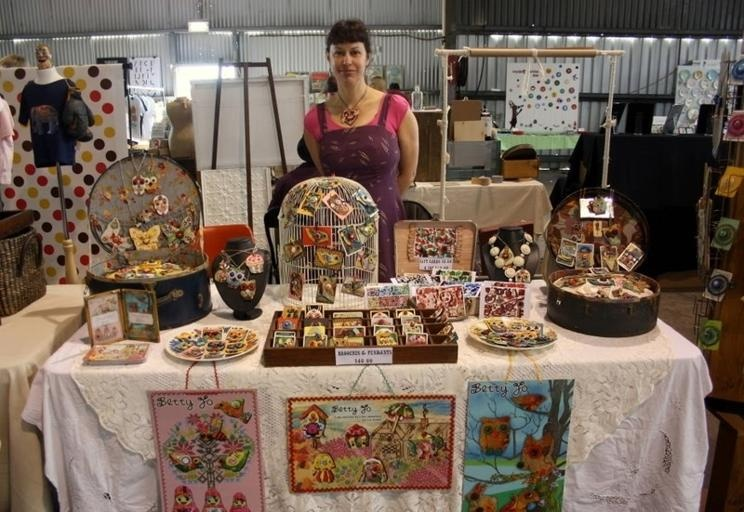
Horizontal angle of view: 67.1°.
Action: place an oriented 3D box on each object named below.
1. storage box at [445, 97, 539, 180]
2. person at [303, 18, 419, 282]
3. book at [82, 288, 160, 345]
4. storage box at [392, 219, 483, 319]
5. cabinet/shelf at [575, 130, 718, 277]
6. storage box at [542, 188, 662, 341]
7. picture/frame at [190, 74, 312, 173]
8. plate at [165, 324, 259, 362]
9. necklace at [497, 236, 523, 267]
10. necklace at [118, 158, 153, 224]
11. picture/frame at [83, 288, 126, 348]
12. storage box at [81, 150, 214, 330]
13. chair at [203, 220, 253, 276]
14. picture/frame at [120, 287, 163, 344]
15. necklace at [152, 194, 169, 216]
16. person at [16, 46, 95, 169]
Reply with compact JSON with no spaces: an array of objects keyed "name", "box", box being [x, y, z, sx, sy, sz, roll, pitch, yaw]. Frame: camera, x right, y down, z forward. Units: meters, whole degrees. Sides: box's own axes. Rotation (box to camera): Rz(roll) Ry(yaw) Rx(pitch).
[{"name":"storage box","box":[1.038,-1.156,5.627,0.541,0.759,0.329,1,14,13]},{"name":"person","box":[-0.077,-0.611,3.290,0.625,1.406,0.499,5,15,25]},{"name":"book","box":[-1.108,0.275,2.483,0.210,0.203,0.087,-1,7,-11]},{"name":"storage box","box":[0.330,0.062,2.937,0.517,0.617,0.408,0,6,3]},{"name":"cabinet/shelf","box":[2.640,-0.682,5.481,1.295,1.101,1.418,-4,39,0]},{"name":"storage box","box":[1.087,-0.011,2.758,0.511,0.792,0.763,0,13,11]},{"name":"picture/frame","box":[-0.951,-1.031,4.402,0.900,0.852,0.340,-2,8,-8]},{"name":"plate","box":[-0.691,0.384,2.411,0.197,0.036,0.210,4,24,-6]},{"name":"necklace","box":[0.697,-0.012,2.801,0.126,0.132,0.052,-3,-22,9]},{"name":"necklace","box":[-1.194,-0.331,2.823,0.234,0.280,0.062,-5,4,-4]},{"name":"picture/frame","box":[-1.181,0.280,2.476,0.197,0.304,0.031,-9,9,-29]},{"name":"storage box","box":[-1.000,-0.125,2.942,0.587,0.928,0.849,-5,12,-21]},{"name":"chair","box":[-0.921,-0.035,3.412,0.293,0.433,0.325,0,0,-8]},{"name":"picture/frame","box":[-1.043,0.269,2.494,0.207,0.321,0.031,2,9,3]},{"name":"necklace","box":[-1.070,-0.253,2.830,0.070,0.098,0.027,-11,2,-16]},{"name":"person","box":[-2.201,-1.020,3.882,0.416,0.833,0.594,-15,19,-43]}]
